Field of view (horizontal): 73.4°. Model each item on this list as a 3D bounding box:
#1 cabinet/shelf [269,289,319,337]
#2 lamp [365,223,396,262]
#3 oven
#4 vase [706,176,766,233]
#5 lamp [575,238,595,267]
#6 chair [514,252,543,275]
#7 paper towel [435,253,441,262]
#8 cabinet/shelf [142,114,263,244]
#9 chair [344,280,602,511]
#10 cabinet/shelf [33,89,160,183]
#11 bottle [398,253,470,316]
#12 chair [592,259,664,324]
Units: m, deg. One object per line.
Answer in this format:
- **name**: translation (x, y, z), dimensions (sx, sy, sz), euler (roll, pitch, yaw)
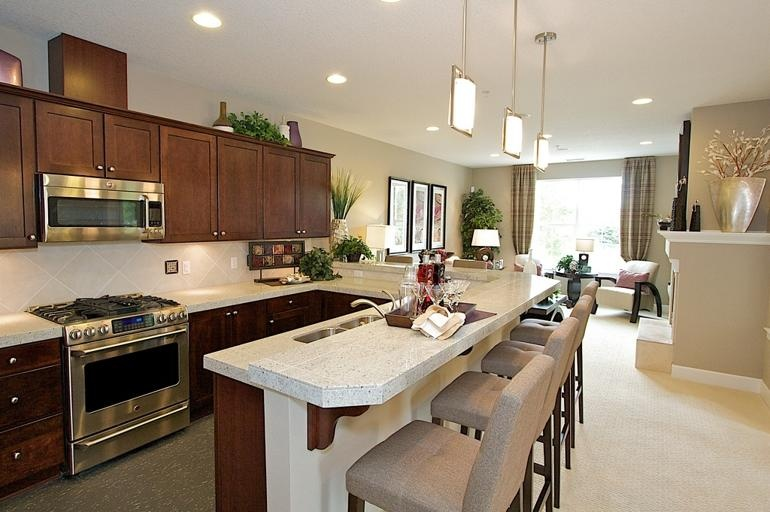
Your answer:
- **cabinet/shelf**: translation (-1.003, 0.596, 5.571), dimensions (0.394, 0.519, 0.574), euler (0, 2, 31)
- **lamp**: translation (-0.081, -0.179, 7.159), dimensions (0.374, 0.504, 0.507), euler (0, 5, 9)
- **oven**: translation (-2.336, 1.149, 4.848), dimensions (1.037, 1.505, 1.159), euler (-2, -1, 29)
- **vase**: translation (3.760, -0.547, 5.569), dimensions (0.475, 0.586, 0.198), euler (3, 6, 31)
- **lamp**: translation (3.622, -0.074, 9.389), dimensions (0.330, 0.501, 0.472), euler (2, 5, 21)
- **chair**: translation (2.594, 0.129, 9.640), dimensions (0.566, 0.503, 0.531), euler (1, -8, -6)
- **paper towel**: translation (0.378, 0.014, 3.676), dimensions (0.051, 0.056, 0.050), euler (-1, 5, -42)
- **cabinet/shelf**: translation (-1.839, -0.763, 5.109), dimensions (0.550, 1.504, 1.334), euler (6, 6, 38)
- **chair**: translation (0.593, 0.981, 3.537), dimensions (0.555, 0.942, 1.744), euler (4, 5, 31)
- **cabinet/shelf**: translation (-2.624, -0.828, 4.618), dimensions (0.547, 0.674, 1.076), euler (0, 1, 40)
- **bottle**: translation (0.349, 0.192, 3.705), dimensions (0.283, 0.444, 0.481), euler (4, 7, 43)
- **chair**: translation (4.129, 0.558, 8.655), dimensions (0.947, 0.911, 1.101), euler (4, 6, 42)
